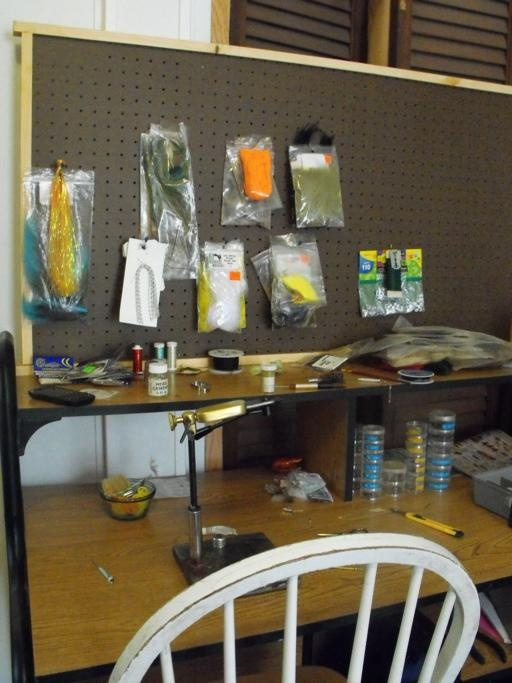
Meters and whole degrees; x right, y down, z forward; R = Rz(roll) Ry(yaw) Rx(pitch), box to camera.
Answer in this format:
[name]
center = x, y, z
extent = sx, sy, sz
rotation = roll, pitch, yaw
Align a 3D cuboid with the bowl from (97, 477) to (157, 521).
[bowl]
center = -0.299, 0.372, 1.425
extent = 0.121, 0.069, 0.125
rotation = 3, 7, 0
